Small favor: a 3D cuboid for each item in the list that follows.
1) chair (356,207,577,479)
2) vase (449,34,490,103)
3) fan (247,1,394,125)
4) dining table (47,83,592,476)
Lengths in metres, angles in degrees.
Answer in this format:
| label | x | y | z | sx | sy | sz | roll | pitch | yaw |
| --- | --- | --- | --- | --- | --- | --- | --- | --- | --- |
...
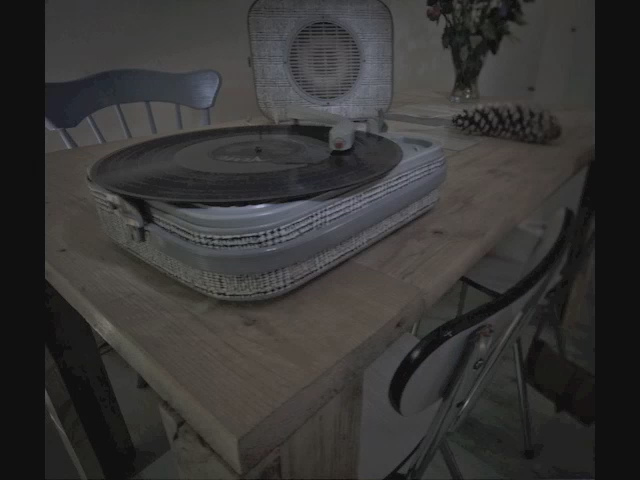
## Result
| label | x | y | z | sx | sy | sz | roll | pitch | yaw |
| --- | --- | --- | --- | --- | --- | --- | --- | --- | --- |
| chair | 0.163 | 0.122 | 0.486 | 0.178 | 0.264 | 0.202 | 23 | 47 | 27 |
| vase | 0.362 | -0.425 | 1.083 | 0.109 | 0.182 | 0.109 | 11 | 37 | 18 |
| fan | -0.002 | -0.278 | 0.672 | 0.218 | 0.203 | 0.051 | -4 | 17 | -1 |
| dining table | 0.030 | -0.013 | 0.627 | 0.683 | 0.310 | 0.431 | -22 | 27 | -40 |
